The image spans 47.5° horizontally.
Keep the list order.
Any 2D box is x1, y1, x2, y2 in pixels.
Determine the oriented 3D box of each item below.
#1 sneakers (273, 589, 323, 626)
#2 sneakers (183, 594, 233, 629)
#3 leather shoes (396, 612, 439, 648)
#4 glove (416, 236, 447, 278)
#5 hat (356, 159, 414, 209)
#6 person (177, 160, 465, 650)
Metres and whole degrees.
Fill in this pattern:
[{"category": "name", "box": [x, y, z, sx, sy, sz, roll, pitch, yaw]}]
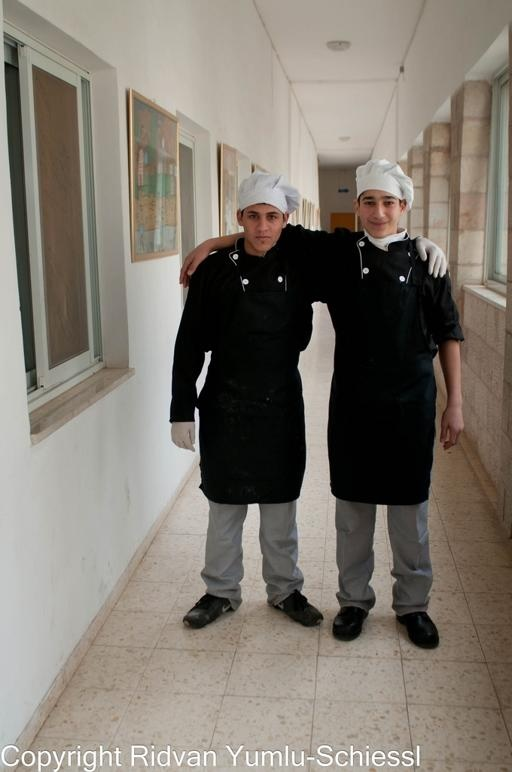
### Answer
[{"category": "sneakers", "box": [0.151, 0.779, 2.075, 0.067, 0.090, 0.191, -18, 9, -40]}, {"category": "sneakers", "box": [-0.170, 0.792, 2.089, 0.063, 0.091, 0.203, 6, 1, 37]}, {"category": "leather shoes", "box": [0.532, 0.790, 1.884, 0.051, 0.061, 0.137, -5, -1, -11]}, {"category": "glove", "box": [0.531, -0.389, 1.770, 0.089, 0.129, 0.192, 0, 5, 19]}, {"category": "hat", "box": [0.385, -0.622, 1.752, 0.167, 0.160, 0.197, 0, 5, 11]}, {"category": "person", "box": [0.391, 0.086, 1.834, 0.474, 1.505, 0.259, -2, 5, -14]}]
